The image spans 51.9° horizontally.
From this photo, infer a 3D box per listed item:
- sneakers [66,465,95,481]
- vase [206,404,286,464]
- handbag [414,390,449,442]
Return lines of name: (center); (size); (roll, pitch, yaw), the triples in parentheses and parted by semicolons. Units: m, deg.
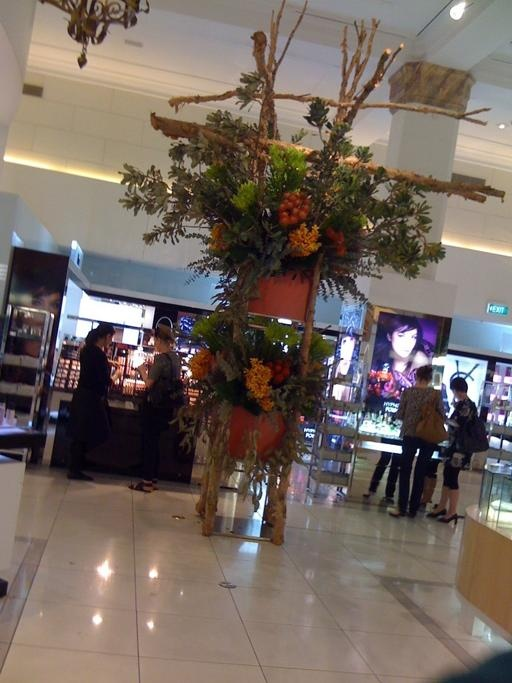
sneakers: (-1.737, 1.315, 5.210); (0.374, 0.144, 0.113); (2, -1, -12)
vase: (-0.129, 0.662, 3.797); (0.385, 0.297, 0.365); (20, -5, 1)
handbag: (1.954, 0.771, 5.854); (0.367, 0.664, 0.323); (8, 15, 30)
